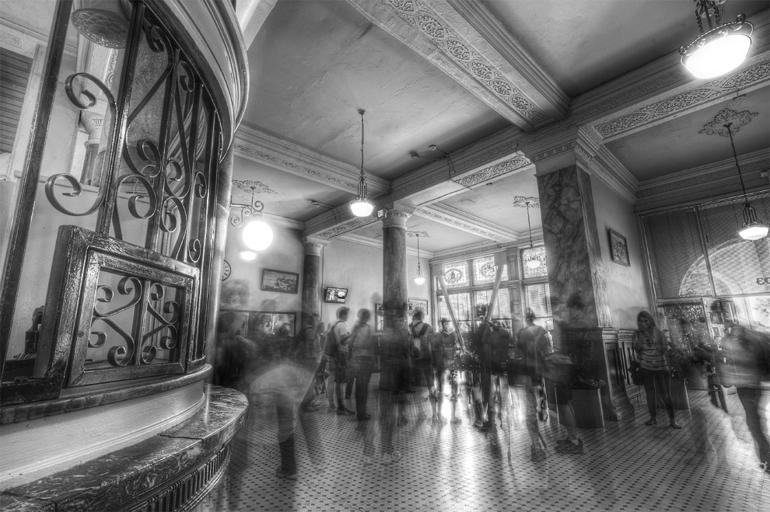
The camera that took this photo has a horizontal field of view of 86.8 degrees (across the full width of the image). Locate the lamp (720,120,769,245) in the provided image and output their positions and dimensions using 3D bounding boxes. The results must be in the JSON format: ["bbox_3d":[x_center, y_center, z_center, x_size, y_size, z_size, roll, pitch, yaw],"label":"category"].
[{"bbox_3d":[6.409,-1.208,7.198,0.416,1.873,1.756,-6,-9,43],"label":"lamp"}]

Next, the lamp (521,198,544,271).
[{"bbox_3d":[3.963,-0.559,10.963,0.364,1.433,2.827,-3,-7,20],"label":"lamp"}]

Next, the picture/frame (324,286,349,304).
[{"bbox_3d":[-1.479,1.170,12.346,0.204,0.491,0.904,-5,-8,36],"label":"picture/frame"}]
